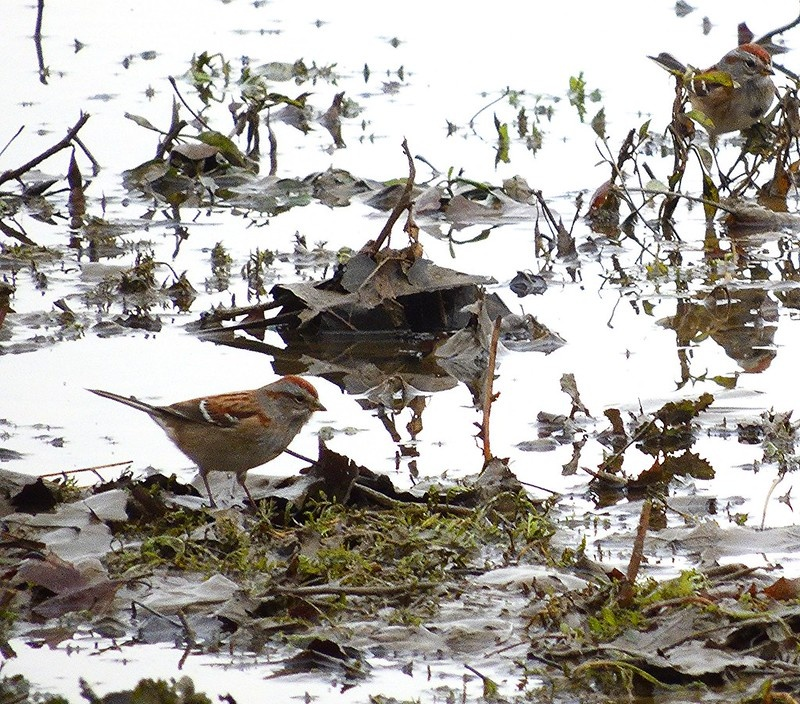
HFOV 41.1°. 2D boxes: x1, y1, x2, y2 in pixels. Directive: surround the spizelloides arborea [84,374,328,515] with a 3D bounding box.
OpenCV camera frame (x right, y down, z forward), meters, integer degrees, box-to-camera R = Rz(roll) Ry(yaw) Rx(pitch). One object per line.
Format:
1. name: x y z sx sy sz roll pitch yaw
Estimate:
1. spizelloides arborea: -0.917 0.380 5.169 1.220 0.568 0.375 5 6 21
